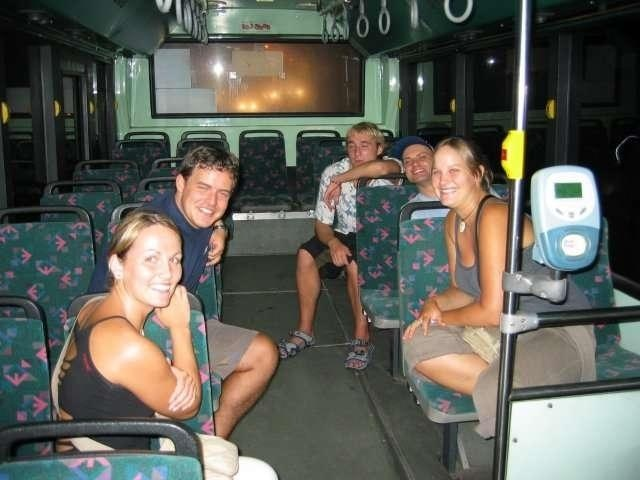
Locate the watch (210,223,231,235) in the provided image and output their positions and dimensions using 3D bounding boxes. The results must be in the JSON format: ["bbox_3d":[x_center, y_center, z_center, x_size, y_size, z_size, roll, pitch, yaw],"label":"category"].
[{"bbox_3d":[-0.592,-0.064,3.176,0.070,0.054,0.080,7,-16,-12],"label":"watch"}]

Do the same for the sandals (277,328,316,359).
[{"bbox_3d":[-0.179,0.756,3.976,0.277,0.105,0.136,-15,25,-38],"label":"sandals"}]

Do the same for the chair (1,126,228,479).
[{"bbox_3d":[-0.733,0.213,2.253,0.823,1.273,0.774,-4,18,-39],"label":"chair"}]

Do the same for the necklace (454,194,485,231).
[{"bbox_3d":[0.714,-0.120,2.497,0.108,0.158,0.040,4,22,22],"label":"necklace"}]

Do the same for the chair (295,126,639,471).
[{"bbox_3d":[0.807,0.182,2.328,0.610,1.232,0.937,-7,12,-31],"label":"chair"}]

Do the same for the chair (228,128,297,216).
[{"bbox_3d":[-0.695,-0.901,6.527,0.682,1.056,0.832,-2,1,-8],"label":"chair"}]
